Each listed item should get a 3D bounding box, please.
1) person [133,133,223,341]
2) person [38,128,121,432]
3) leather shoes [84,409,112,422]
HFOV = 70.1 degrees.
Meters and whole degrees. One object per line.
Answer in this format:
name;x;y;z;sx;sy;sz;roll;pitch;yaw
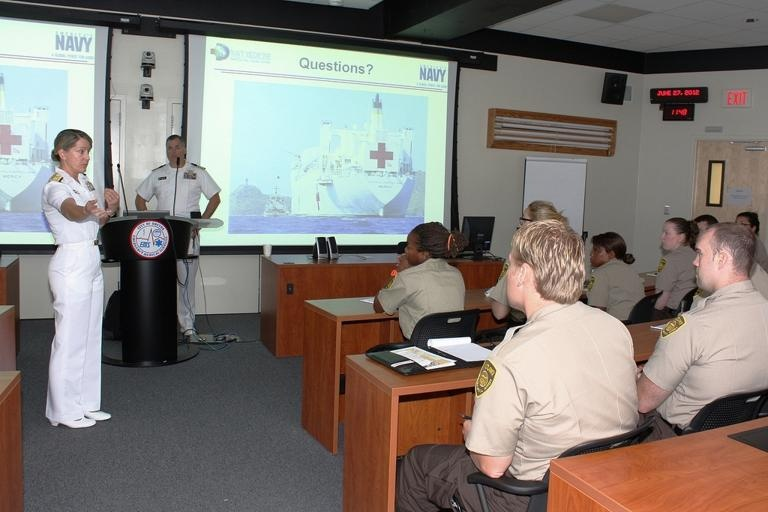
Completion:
person;-2.307;-0.270;6.299;0.861;2.213;1.194;-5;13;-32
person;-2.247;0.172;4.043;0.569;2.173;0.493;0;11;-12
leather shoes;-2.167;1.214;4.170;0.136;0.046;0.077;2;1;9
